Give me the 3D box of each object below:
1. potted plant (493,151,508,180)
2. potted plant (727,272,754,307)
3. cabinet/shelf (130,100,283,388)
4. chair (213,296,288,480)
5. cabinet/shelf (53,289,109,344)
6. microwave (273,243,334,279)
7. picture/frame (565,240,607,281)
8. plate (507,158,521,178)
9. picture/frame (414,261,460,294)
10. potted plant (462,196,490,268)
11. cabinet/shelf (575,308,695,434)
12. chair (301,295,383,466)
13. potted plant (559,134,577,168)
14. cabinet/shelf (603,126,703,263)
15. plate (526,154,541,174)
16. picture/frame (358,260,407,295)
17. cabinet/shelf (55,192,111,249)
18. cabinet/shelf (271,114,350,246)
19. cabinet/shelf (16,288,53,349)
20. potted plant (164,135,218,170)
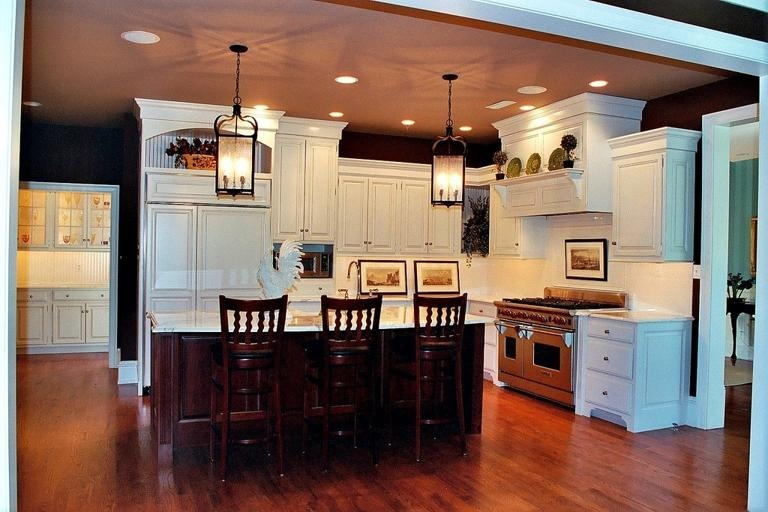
[{"bbox_3d":[1.577,-1.223,7.787,0.180,0.377,0.386,2,6,11],"label":"potted plant"},{"bbox_3d":[5.432,0.491,8.775,0.351,0.436,0.543,4,7,32],"label":"potted plant"},{"bbox_3d":[-2.338,-0.030,7.463,1.618,3.095,0.813,-2,-12,-15],"label":"cabinet/shelf"},{"bbox_3d":[-1.228,1.076,5.193,0.666,1.549,0.877,-1,7,-16],"label":"chair"},{"bbox_3d":[-4.841,0.935,9.104,0.902,0.797,0.373,1,-3,-20],"label":"cabinet/shelf"},{"bbox_3d":[-0.991,0.067,8.135,0.789,0.477,0.489,0,1,-11],"label":"microwave"},{"bbox_3d":[2.571,0.051,7.256,0.049,0.633,0.552,0,0,-31],"label":"picture/frame"},{"bbox_3d":[1.684,-1.160,7.536,0.107,0.267,0.263,-3,7,-28],"label":"plate"},{"bbox_3d":[0.772,0.334,8.783,0.531,0.358,0.020,1,-6,-19],"label":"picture/frame"},{"bbox_3d":[1.405,-0.475,8.880,0.429,0.913,0.245,0,7,-2],"label":"potted plant"},{"bbox_3d":[2.792,1.254,6.457,0.840,1.108,0.835,2,-1,-25],"label":"cabinet/shelf"},{"bbox_3d":[-0.404,1.077,5.358,0.740,1.513,0.844,0,6,-3],"label":"chair"},{"bbox_3d":[2.152,-1.226,6.728,0.189,0.377,0.154,4,7,26],"label":"potted plant"},{"bbox_3d":[2.909,-0.656,6.279,0.906,1.424,0.482,4,7,27],"label":"cabinet/shelf"},{"bbox_3d":[1.873,-1.170,7.268,0.076,0.260,0.264,-3,7,-25],"label":"plate"},{"bbox_3d":[-0.062,0.317,8.443,0.543,0.355,0.022,2,-7,-23],"label":"picture/frame"},{"bbox_3d":[-4.931,-0.578,9.332,0.963,0.864,0.316,0,-2,-18],"label":"cabinet/shelf"},{"bbox_3d":[-1.041,-1.021,7.819,0.940,1.671,0.293,0,7,-7],"label":"cabinet/shelf"},{"bbox_3d":[-5.444,0.955,8.955,0.465,0.933,0.178,-3,7,-26],"label":"cabinet/shelf"},{"bbox_3d":[-2.420,-1.303,7.309,0.684,0.303,0.669,0,-4,-7],"label":"potted plant"}]
